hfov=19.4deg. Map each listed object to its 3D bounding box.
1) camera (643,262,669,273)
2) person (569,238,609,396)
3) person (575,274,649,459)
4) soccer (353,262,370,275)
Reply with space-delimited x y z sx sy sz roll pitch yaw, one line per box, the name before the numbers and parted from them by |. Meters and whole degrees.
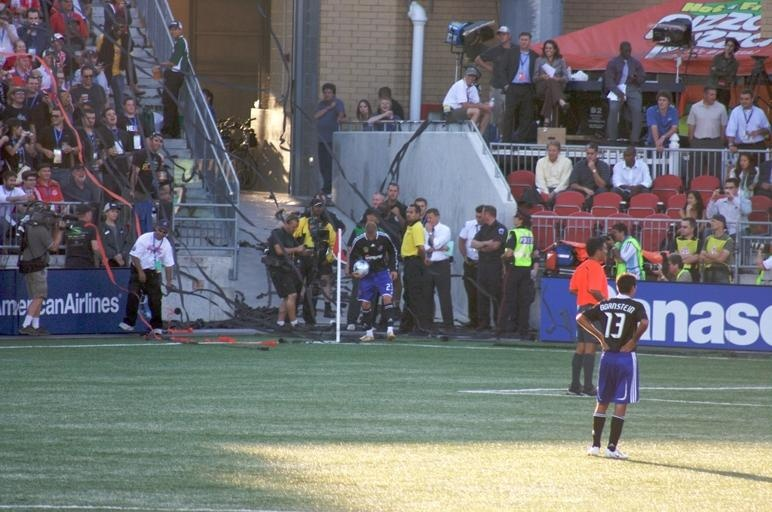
camera | 6.019 0.268 50.356 0.539 0.209 0.205 1 14 5
person | 4.111 1.259 44.801 1.112 2.991 0.881 2 -1 -9
person | 4.234 2.044 42.077 1.338 3.524 0.818 5 1 20
soccer | -0.550 0.263 49.326 0.316 0.361 0.725 0 -2 -1
